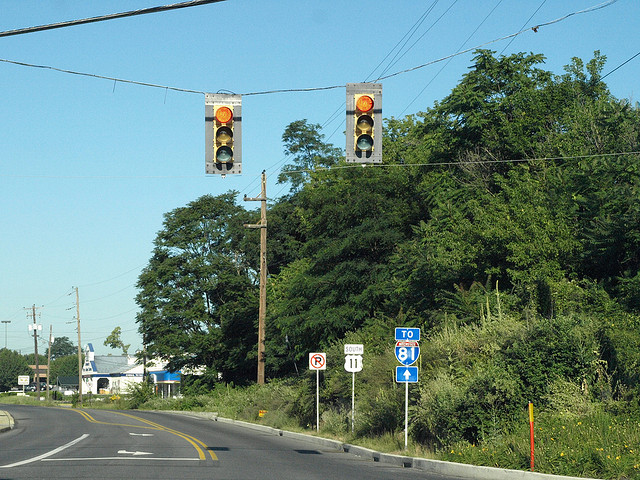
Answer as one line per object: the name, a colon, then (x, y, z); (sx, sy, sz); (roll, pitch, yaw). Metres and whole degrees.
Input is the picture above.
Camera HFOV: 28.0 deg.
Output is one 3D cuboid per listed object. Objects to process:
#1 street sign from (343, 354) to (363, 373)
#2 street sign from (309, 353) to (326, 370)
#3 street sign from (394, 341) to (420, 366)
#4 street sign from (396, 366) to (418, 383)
street sign: (1.704, 6.299, 65.433); (0.967, 0.924, 0.522); (2, -11, -10)
street sign: (-0.144, 6.440, 68.151); (0.879, 0.961, 0.043); (4, -28, -9)
street sign: (4.091, 5.296, 60.109); (1.196, 1.529, 0.152); (2, -12, -3)
street sign: (4.022, 6.207, 59.460); (0.747, 0.592, 0.051); (2, -17, -4)
